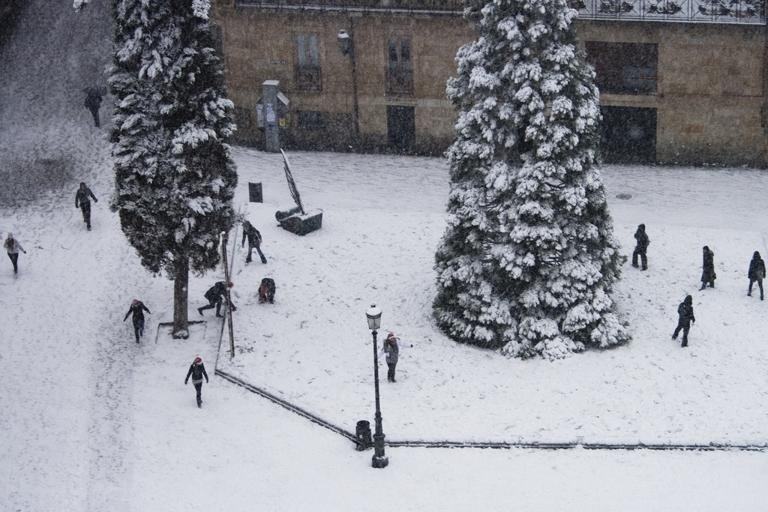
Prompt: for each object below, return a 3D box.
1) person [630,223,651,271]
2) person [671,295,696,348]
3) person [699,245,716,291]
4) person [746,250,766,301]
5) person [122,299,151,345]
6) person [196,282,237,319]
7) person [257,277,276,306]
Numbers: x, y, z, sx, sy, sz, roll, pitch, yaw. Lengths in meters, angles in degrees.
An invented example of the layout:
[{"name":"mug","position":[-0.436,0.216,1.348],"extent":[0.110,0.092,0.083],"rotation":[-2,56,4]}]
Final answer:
[{"name":"person","position":[11.813,-0.492,58.148],"extent":[0.698,2.069,1.127],"rotation":[1,14,12]},{"name":"person","position":[12.704,2.680,53.556],"extent":[0.840,2.143,1.200],"rotation":[2,15,14]},{"name":"person","position":[14.563,0.462,56.674],"extent":[0.642,1.926,1.169],"rotation":[2,15,14]},{"name":"person","position":[16.461,0.793,55.891],"extent":[0.731,2.085,0.950],"rotation":[3,15,17]},{"name":"person","position":[-10.591,2.976,54.956],"extent":[1.380,2.438,1.003],"rotation":[2,25,3]},{"name":"person","position":[-7.206,1.891,55.566],"extent":[1.533,1.619,1.032],"rotation":[3,14,-13]},{"name":"person","position":[-5.022,1.517,56.602],"extent":[0.782,1.071,1.010],"rotation":[0,13,-9]}]
